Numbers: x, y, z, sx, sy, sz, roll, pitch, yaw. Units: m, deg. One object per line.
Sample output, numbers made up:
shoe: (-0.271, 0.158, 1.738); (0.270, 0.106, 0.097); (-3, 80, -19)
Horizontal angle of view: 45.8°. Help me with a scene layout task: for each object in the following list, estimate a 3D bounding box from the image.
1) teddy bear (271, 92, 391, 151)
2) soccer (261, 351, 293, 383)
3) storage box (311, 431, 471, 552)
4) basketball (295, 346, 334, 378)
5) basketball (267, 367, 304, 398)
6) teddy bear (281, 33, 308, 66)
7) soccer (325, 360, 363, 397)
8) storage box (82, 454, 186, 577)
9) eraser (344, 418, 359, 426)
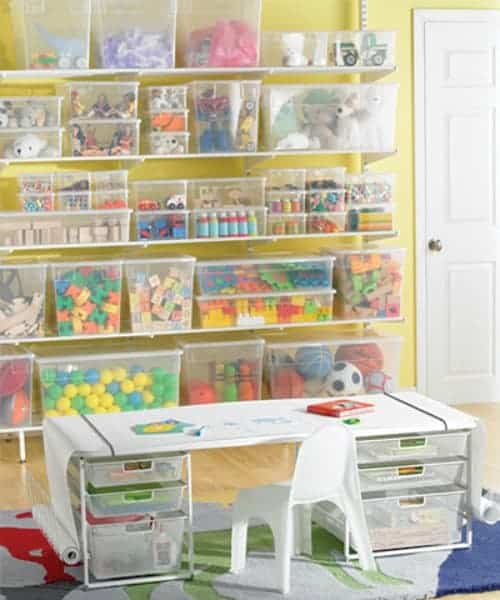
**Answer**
teddy bear: (0.428, -0.955, 3.078); (0.719, 0.348, 0.126); (0, -1, -10)
soccer: (0.139, 0.320, 3.075); (0.177, 0.207, 0.188); (0, 4, -14)
storage box: (0.431, 0.510, 1.889); (0.521, 0.417, 0.356); (-3, 2, -11)
basketball: (0.315, 0.314, 3.131); (0.200, 0.190, 0.181); (1, 4, -1)
basketball: (0.186, 0.420, 3.117); (0.159, 0.148, 0.170); (-22, 13, -19)
teddy bear: (0.225, -1.283, 3.020); (0.138, 0.167, 0.038); (0, -1, -12)
soccer: (0.491, 0.435, 3.148); (0.187, 0.192, 0.187); (-18, -32, 33)
storage box: (-0.306, 0.582, 1.607); (0.304, 0.379, 0.273); (0, -1, -16)
eraser: (0.281, 0.340, 1.644); (0.035, 0.008, 0.031); (0, 7, -2)
